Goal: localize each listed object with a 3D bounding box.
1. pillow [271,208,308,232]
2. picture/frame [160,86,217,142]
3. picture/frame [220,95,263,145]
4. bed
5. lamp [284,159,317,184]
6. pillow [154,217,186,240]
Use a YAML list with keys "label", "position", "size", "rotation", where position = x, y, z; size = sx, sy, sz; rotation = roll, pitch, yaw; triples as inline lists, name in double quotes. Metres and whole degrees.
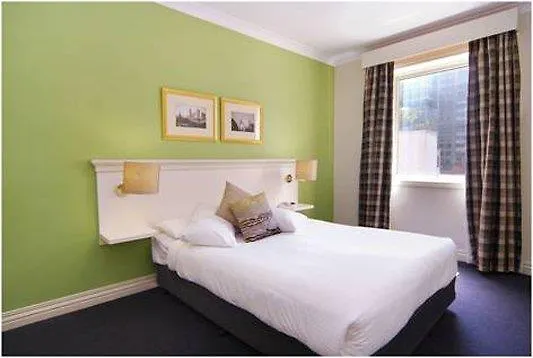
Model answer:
- label: "pillow"
  position: [0.304, 0.485, 4.036]
  size: [0.312, 0.090, 0.314]
  rotation: [-6, 15, -31]
- label: "picture/frame"
  position: [-1.017, -0.819, 4.133]
  size: [0.800, 0.630, 0.038]
  rotation: [-1, 2, -39]
- label: "picture/frame"
  position: [-0.379, -0.826, 4.597]
  size: [0.803, 0.636, 0.051]
  rotation: [-1, 2, -38]
- label: "bed"
  position: [0.089, 0.835, 3.430]
  size: [2.548, 1.151, 2.477]
  rotation: [-4, 5, -44]
- label: "lamp"
  position: [0.558, -0.131, 5.060]
  size: [0.312, 0.300, 0.483]
  rotation: [2, -2, -38]
- label: "pillow"
  position: [-1.087, 0.555, 3.779]
  size: [0.273, 0.080, 0.258]
  rotation: [12, 15, 42]
